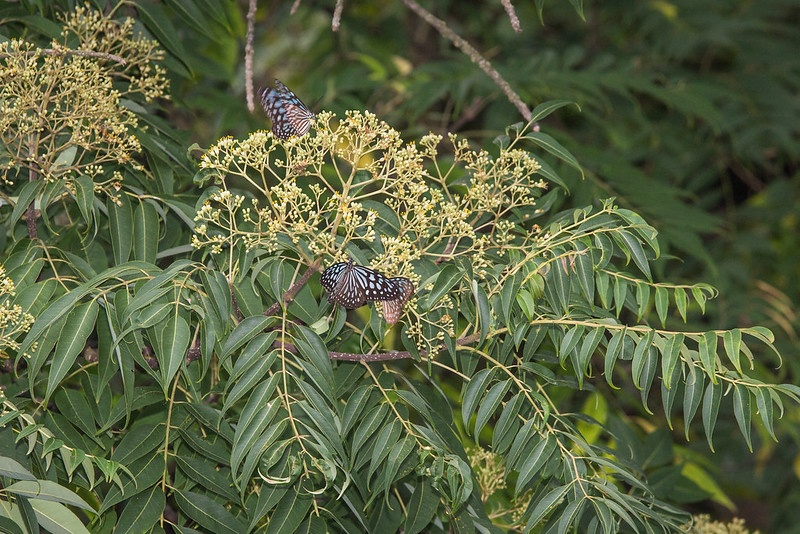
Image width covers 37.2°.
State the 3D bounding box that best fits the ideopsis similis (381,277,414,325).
[{"bbox_3d":[-0.007,0.117,4.039,0.055,0.144,0.130,1,40,-32],"label":"ideopsis similis"}]

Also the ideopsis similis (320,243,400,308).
[{"bbox_3d":[-0.154,0.035,4.022,0.211,0.167,0.064,-1,11,15],"label":"ideopsis similis"}]

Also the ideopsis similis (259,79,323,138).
[{"bbox_3d":[-0.393,-0.581,4.188,0.166,0.106,0.237,32,-2,-8],"label":"ideopsis similis"}]
